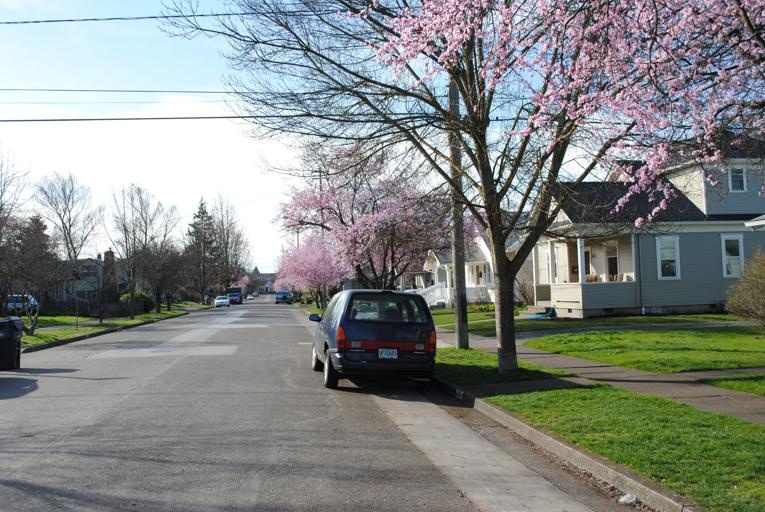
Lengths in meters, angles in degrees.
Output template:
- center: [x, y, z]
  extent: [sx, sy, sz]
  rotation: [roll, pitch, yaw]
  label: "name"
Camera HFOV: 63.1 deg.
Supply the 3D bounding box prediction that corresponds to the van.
- center: [-0.240, 1.809, 13.943]
  extent: [2.829, 2.191, 1.748]
  rotation: [-3, -4, 17]
  label: "van"
